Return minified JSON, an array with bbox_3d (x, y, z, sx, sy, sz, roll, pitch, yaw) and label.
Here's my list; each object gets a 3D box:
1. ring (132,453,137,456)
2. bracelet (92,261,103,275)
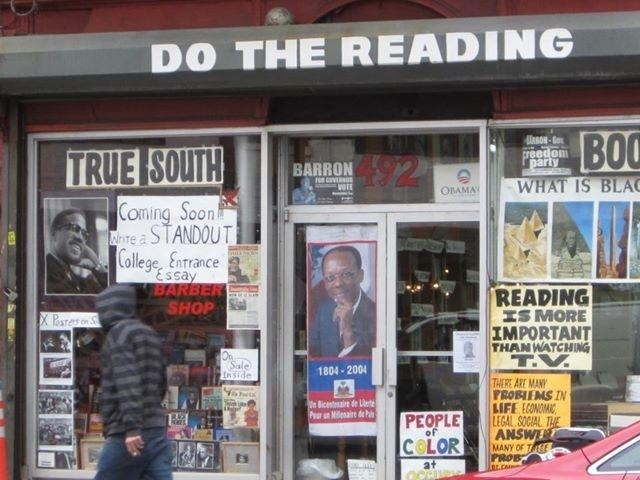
[{"bbox_3d":[-1.801,2.082,15.867,0.028,0.029,0.007,2,17,-5],"label":"ring"},{"bbox_3d":[-2.374,0.283,17.692,0.061,0.134,0.132,-45,3,-39],"label":"bracelet"}]
